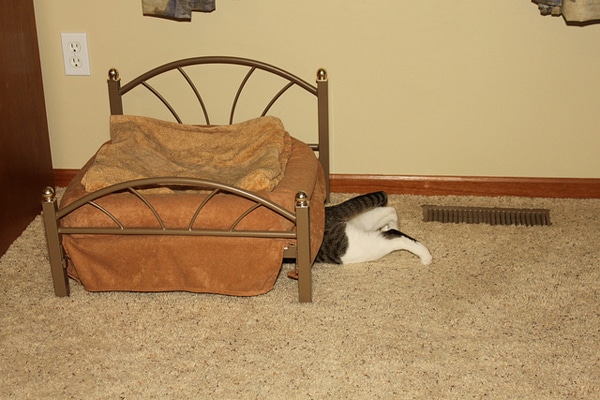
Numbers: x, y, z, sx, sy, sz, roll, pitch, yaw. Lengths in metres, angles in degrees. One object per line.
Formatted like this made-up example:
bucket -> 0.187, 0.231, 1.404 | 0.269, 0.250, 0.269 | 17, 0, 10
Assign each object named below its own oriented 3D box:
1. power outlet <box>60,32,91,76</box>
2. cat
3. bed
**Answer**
power outlet -> -1.425, -0.930, 3.597 | 0.170, 0.247, 0.069 | 6, 24, 10
cat -> 0.380, 0.148, 2.975 | 0.596, 0.329, 0.270 | 1, 15, -2
bed -> -0.453, -0.095, 3.127 | 1.338, 0.966, 1.461 | 1, 32, 6
